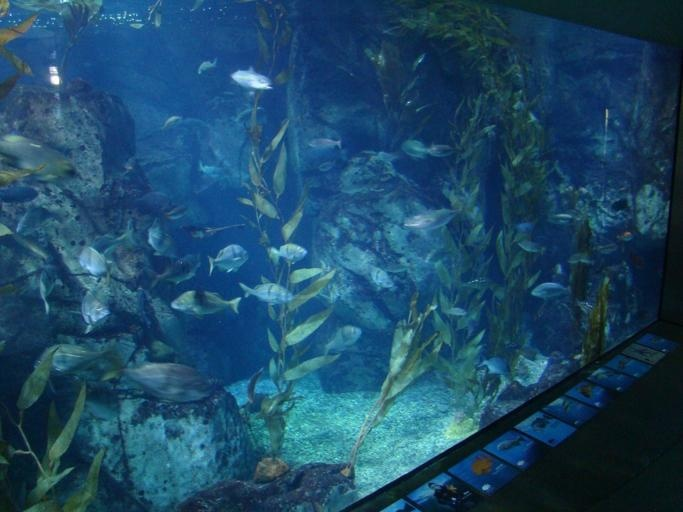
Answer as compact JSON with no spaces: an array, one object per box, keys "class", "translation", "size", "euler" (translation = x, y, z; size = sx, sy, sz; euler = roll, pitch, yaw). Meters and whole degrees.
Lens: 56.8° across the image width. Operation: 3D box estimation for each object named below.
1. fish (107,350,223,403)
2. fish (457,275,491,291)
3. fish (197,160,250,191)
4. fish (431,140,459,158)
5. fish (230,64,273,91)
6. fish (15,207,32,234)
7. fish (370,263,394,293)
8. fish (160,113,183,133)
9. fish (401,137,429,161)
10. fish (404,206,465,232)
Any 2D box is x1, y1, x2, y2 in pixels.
[{"class":"fish","translation":[-1.268,0.851,4.427],"size":[0.790,0.364,0.127],"euler":[18,8,-16]},{"class":"fish","translation":[1.201,0.251,5.586],"size":[0.323,0.119,0.178],"euler":[-5,11,-28]},{"class":"fish","translation":[-1.252,-0.796,6.265],"size":[0.320,0.287,0.634],"euler":[5,11,25]},{"class":"fish","translation":[0.883,-0.918,5.535],"size":[0.204,0.118,0.232],"euler":[5,11,25]},{"class":"fish","translation":[-0.664,-1.314,4.700],"size":[0.250,0.123,0.150],"euler":[-4,-19,-25]},{"class":"fish","translation":[-2.134,-0.231,4.257],"size":[0.036,0.163,0.102],"euler":[25,-3,24]},{"class":"fish","translation":[0.424,0.229,6.497],"size":[0.256,0.263,0.103],"euler":[1,10,4]},{"class":"fish","translation":[-1.318,-1.033,4.874],"size":[0.165,0.113,0.389],"euler":[-2,10,-11]},{"class":"fish","translation":[0.661,-0.961,5.627],"size":[0.216,0.136,0.232],"euler":[2,10,7]},{"class":"fish","translation":[0.828,-0.293,5.341],"size":[0.598,0.175,0.244],"euler":[-4,-12,2]}]
